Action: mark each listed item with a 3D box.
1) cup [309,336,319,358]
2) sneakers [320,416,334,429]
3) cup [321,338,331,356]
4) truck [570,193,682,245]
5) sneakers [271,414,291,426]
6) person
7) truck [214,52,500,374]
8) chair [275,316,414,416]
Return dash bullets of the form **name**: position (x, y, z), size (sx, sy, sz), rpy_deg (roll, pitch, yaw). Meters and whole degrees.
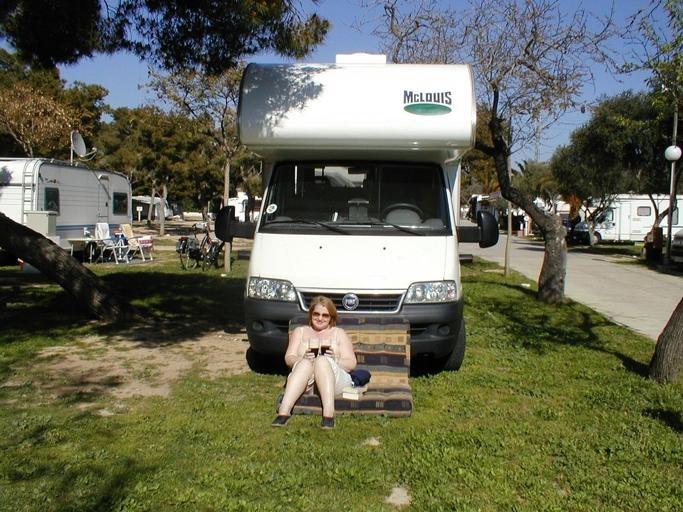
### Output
- **cup**: position (-0.270, 0.923, 5.245), size (0.119, 0.230, 0.132), rpy_deg (-2, -1, 16)
- **sneakers**: position (-0.133, 1.537, 4.855), size (0.108, 0.084, 0.120), rpy_deg (3, 6, 10)
- **cup**: position (-0.167, 0.914, 5.286), size (0.114, 0.211, 0.125), rpy_deg (-5, -6, 37)
- **truck**: position (17.440, -2.160, 30.330), size (6.236, 3.248, 2.634), rpy_deg (1, 2, 5)
- **sneakers**: position (-0.574, 1.528, 4.921), size (0.180, 0.070, 0.143), rpy_deg (1, 6, -16)
- **person**: position (-0.277, 0.962, 5.162), size (0.657, 1.139, 1.387), rpy_deg (0, -1, 8)
- **truck**: position (0.273, -0.782, 7.724), size (2.150, 2.786, 4.142), rpy_deg (0, 0, 5)
- **chair**: position (0.202, 1.125, 5.446), size (1.137, 0.798, 0.923), rpy_deg (0, 6, 0)
